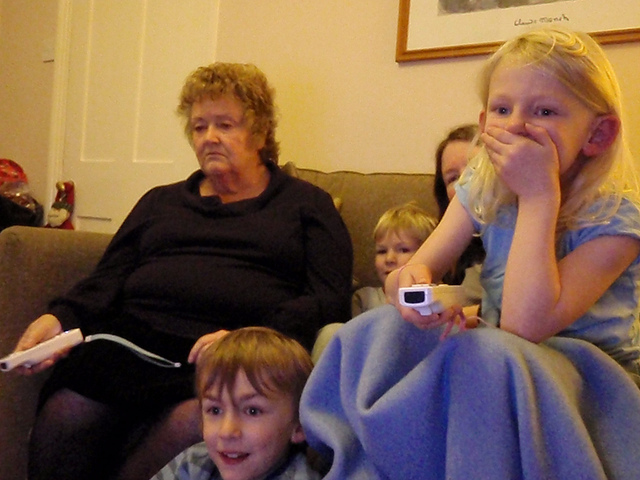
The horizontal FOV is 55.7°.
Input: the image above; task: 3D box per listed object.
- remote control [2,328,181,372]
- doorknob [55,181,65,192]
[{"bbox_3d":[-0.625,0.253,1.536,0.181,0.066,0.307,19,26,31],"label":"remote control"},{"bbox_3d":[-1.254,-0.267,2.945,0.042,0.053,0.018,-12,4,29],"label":"doorknob"}]
